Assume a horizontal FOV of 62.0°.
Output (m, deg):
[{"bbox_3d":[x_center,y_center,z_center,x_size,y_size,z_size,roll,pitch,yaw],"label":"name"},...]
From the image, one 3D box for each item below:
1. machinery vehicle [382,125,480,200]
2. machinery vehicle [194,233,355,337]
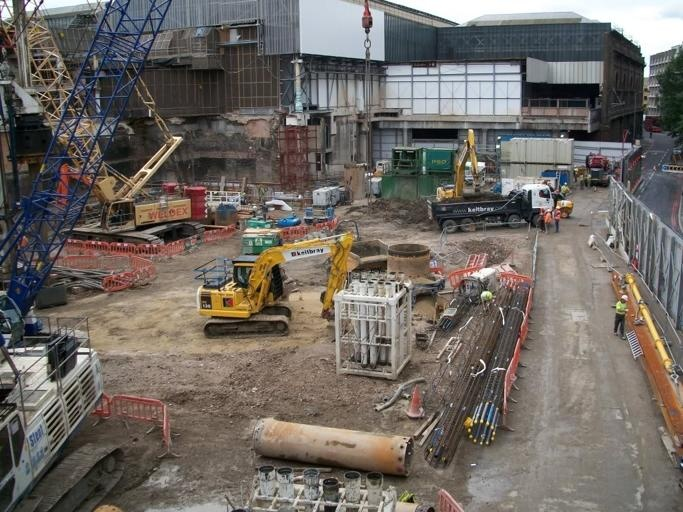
[{"bbox_3d":[7.038,-7.393,46.371,7.544,6.260,5.000,2,9,11],"label":"machinery vehicle"},{"bbox_3d":[-2.968,1.009,23.323,5.985,3.862,2.707,0,14,6],"label":"machinery vehicle"}]
